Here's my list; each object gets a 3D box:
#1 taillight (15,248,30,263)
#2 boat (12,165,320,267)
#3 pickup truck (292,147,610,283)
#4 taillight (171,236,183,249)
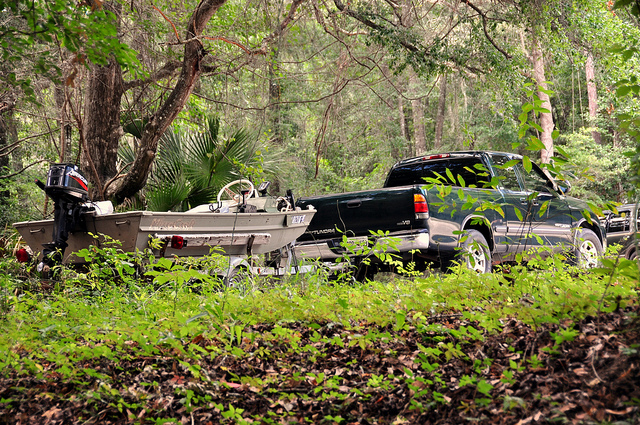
[{"bbox_3d":[-4.157,0.600,7.385,0.058,0.171,0.171,-11,-9,20],"label":"taillight"},{"bbox_3d":[-1.931,0.269,8.158,1.757,1.334,4.557,-1,-2,42],"label":"boat"},{"bbox_3d":[2.763,0.244,10.563,6.583,2.329,3.113,1,-7,-41],"label":"pickup truck"},{"bbox_3d":[-2.000,0.418,7.393,0.152,0.180,0.147,1,-1,-16],"label":"taillight"}]
